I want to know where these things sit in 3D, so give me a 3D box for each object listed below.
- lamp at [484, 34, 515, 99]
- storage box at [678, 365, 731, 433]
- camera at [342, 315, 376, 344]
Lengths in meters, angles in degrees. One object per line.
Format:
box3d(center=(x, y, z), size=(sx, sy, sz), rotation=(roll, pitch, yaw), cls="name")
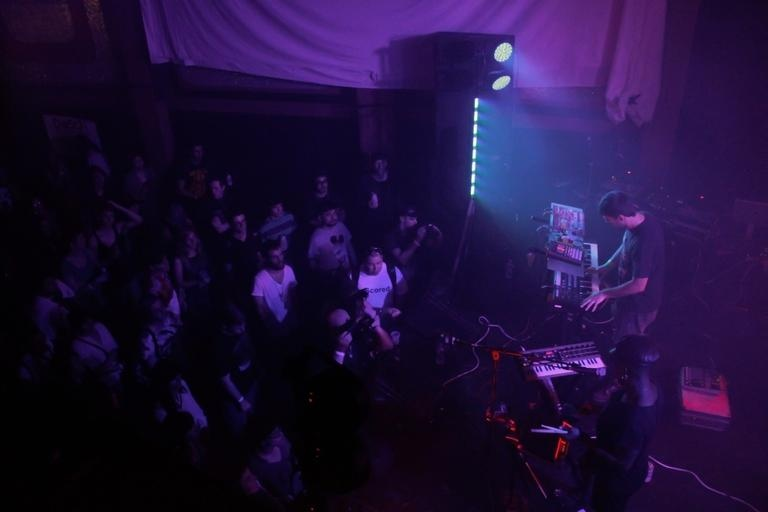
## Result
box3d(center=(1.600, -2.629, 8.352), size=(0.523, 0.758, 0.182), rotation=(-7, 20, -26), cls="lamp")
box3d(center=(4.489, 1.959, 8.549), size=(0.648, 0.252, 0.912), rotation=(0, 36, 20), cls="storage box")
box3d(center=(-0.368, 1.053, 8.720), size=(0.435, 0.163, 0.304), rotation=(-15, 30, -29), cls="camera")
